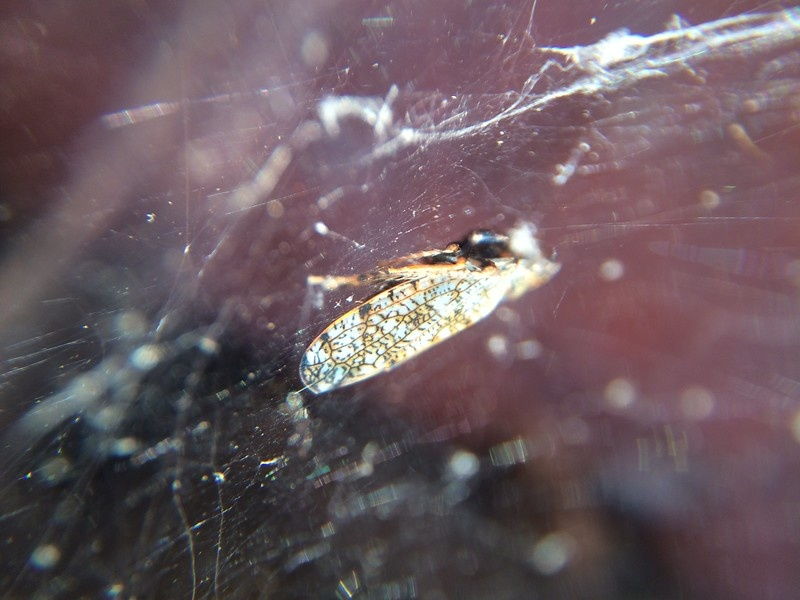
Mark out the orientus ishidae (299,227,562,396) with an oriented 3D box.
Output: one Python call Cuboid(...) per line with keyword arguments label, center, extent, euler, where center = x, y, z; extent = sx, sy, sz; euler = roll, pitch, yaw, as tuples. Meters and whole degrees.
Cuboid(label="orientus ishidae", center=(0.087, 0.020, 2.061), extent=(0.786, 0.529, 0.349), euler=(-16, 103, -6))
